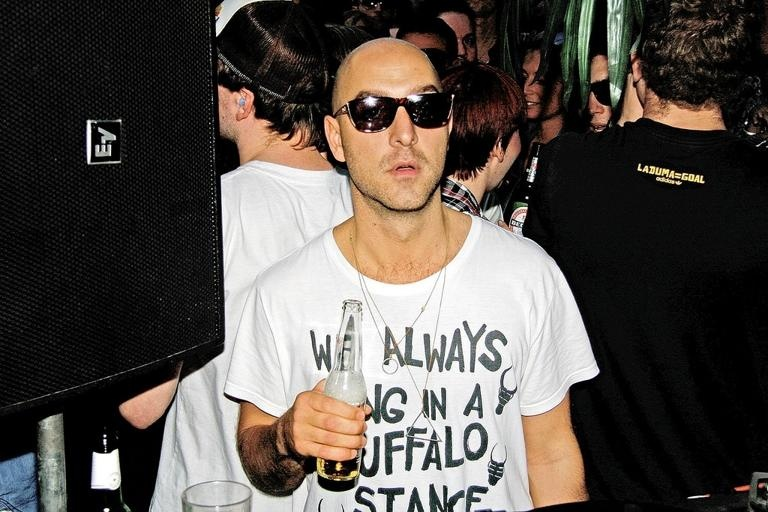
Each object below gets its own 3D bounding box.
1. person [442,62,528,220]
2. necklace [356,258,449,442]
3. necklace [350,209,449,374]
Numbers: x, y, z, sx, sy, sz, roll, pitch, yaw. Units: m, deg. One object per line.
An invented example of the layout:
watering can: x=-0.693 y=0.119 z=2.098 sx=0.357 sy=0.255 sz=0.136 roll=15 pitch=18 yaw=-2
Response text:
person: x=0.477 y=-0.586 z=3.478 sx=0.566 sy=0.856 sz=0.527 roll=-1 pitch=12 yaw=-15
necklace: x=0.052 y=0.353 z=2.436 sx=0.357 sy=0.528 sz=0.441 roll=2 pitch=29 yaw=2
necklace: x=0.077 y=0.238 z=2.377 sx=0.270 sy=0.476 sz=0.039 roll=-7 pitch=25 yaw=-8
